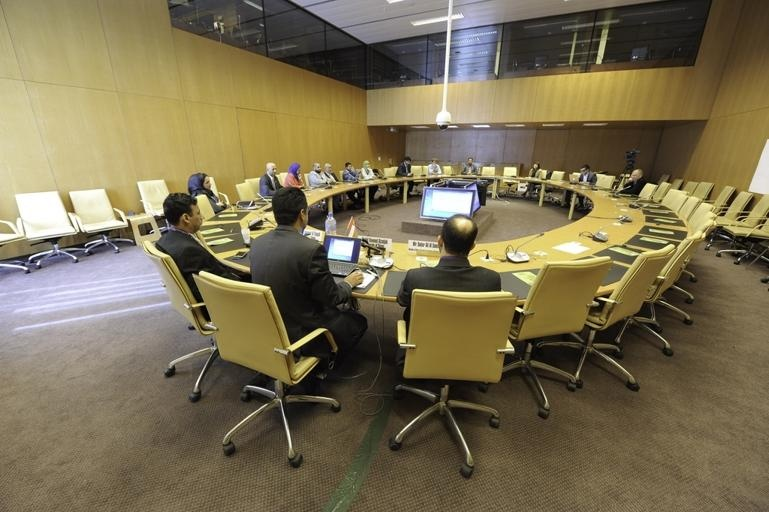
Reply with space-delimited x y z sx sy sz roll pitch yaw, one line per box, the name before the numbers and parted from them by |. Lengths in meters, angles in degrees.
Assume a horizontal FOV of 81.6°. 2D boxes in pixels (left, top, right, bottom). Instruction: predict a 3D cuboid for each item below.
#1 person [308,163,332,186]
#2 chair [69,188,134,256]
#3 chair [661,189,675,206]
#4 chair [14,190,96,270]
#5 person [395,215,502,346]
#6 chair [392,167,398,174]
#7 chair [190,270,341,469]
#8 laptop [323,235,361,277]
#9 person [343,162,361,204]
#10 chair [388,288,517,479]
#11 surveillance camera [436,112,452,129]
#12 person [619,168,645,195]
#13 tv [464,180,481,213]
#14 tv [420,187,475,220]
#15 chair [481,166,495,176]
person | -1.587 -1.981 10.771 0.530 0.501 1.119 -5 21 -6
chair | -5.168 -0.633 8.106 0.895 1.060 0.831 9 20 25
chair | 5.645 -1.159 8.868 0.173 0.270 0.545 10 24 29
chair | -5.790 -0.489 7.642 0.857 1.125 0.828 -20 28 -37
person | 0.838 0.341 5.170 1.248 1.570 1.014 1 15 -3
chair | 0.333 -2.516 13.177 0.198 0.238 0.197 4 31 6
chair | -1.197 1.151 5.328 1.687 2.053 1.475 -4 16 -22
laptop | -0.536 -0.048 5.648 0.529 0.354 0.481 6 33 3
person | -0.908 -1.943 11.793 0.445 0.962 0.405 -6 14 10
chair | 0.779 1.179 5.226 1.607 2.020 1.607 0 16 -11
surveillance camera | 1.172 -2.671 8.730 0.221 0.332 0.597 2 21 12
person | 5.634 -1.682 10.097 0.430 0.552 0.945 11 25 31
tv | 1.791 -1.190 9.120 0.291 0.579 0.877 6 27 19
tv | 1.387 -1.135 9.204 1.087 0.631 1.090 6 22 14
chair | 3.255 -2.654 14.041 0.537 0.300 0.385 6 30 16
